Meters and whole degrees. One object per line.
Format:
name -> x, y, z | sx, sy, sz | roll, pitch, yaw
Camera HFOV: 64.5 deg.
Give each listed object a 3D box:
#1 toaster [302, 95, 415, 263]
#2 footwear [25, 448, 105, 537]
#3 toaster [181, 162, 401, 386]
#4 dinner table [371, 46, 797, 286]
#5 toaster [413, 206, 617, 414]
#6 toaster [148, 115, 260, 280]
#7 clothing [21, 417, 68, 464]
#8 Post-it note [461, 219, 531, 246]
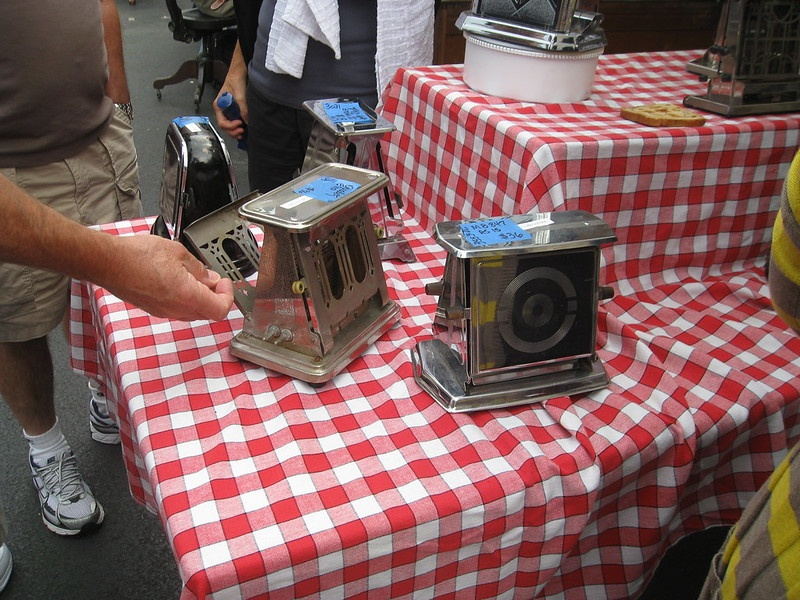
toaster -> -0.142, -0.353, 1.626 | 0.205, 0.353, 0.357 | -18, 71, 30
footwear -> -1.021, 0.524, 1.930 | 0.132, 0.148, 0.311 | -18, 41, -38
toaster -> -0.226, -0.085, 1.406 | 0.375, 0.358, 0.383 | 16, 31, 22
dinner table -> 0.540, -0.336, 1.721 | 0.780, 0.201, 0.778 | -2, 40, -9
toaster -> 0.251, -0.019, 1.360 | 0.397, 0.374, 0.331 | -7, 26, -7
toaster -> -0.500, -0.276, 1.583 | 0.247, 0.329, 0.327 | -10, 37, -28
clothing -> -1.064, 0.390, 1.935 | 0.181, 0.131, 0.066 | 24, 36, 36
Post-it note -> 0.185, -0.139, 1.249 | 0.135, 0.007, 0.101 | -11, 40, -15
